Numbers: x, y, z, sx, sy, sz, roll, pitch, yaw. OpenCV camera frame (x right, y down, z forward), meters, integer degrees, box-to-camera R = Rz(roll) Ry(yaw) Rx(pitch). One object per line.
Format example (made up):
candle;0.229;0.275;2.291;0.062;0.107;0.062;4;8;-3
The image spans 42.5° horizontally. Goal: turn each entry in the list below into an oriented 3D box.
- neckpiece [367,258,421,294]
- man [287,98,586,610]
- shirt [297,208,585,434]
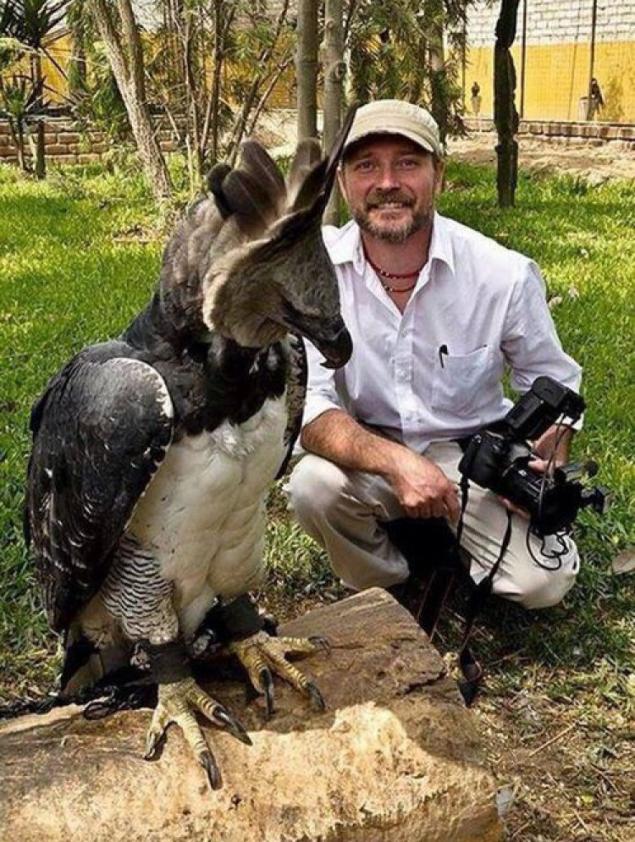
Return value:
neckpiece;0.269;-0.525;2.950;0.182;0.130;0.043;-1;16;4
man;0.468;-0.268;3.121;0.916;1.937;1.048;1;7;22
shirt;0.423;-0.350;3.122;1.217;0.814;0.529;3;35;15
